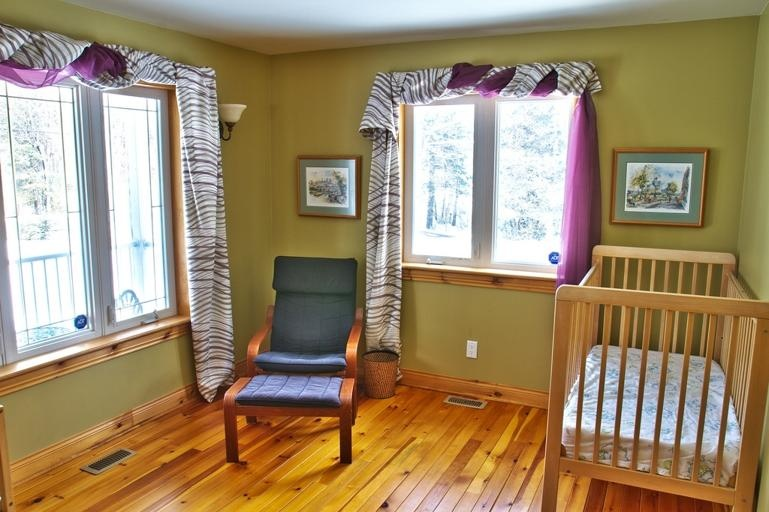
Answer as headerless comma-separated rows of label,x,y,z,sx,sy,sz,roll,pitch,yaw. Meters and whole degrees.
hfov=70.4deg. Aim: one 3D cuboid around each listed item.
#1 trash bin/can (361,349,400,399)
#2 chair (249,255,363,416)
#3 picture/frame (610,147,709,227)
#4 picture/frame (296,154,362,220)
trash bin/can,-0.016,1.037,4.835,0.416,0.393,0.393,-1,-2,6
chair,-0.622,0.546,4.524,0.867,0.936,1.047,3,10,3
picture/frame,2.138,-0.539,4.168,0.656,0.584,0.043,2,8,21
picture/frame,-0.486,-0.656,5.054,0.648,0.565,0.049,3,10,17
